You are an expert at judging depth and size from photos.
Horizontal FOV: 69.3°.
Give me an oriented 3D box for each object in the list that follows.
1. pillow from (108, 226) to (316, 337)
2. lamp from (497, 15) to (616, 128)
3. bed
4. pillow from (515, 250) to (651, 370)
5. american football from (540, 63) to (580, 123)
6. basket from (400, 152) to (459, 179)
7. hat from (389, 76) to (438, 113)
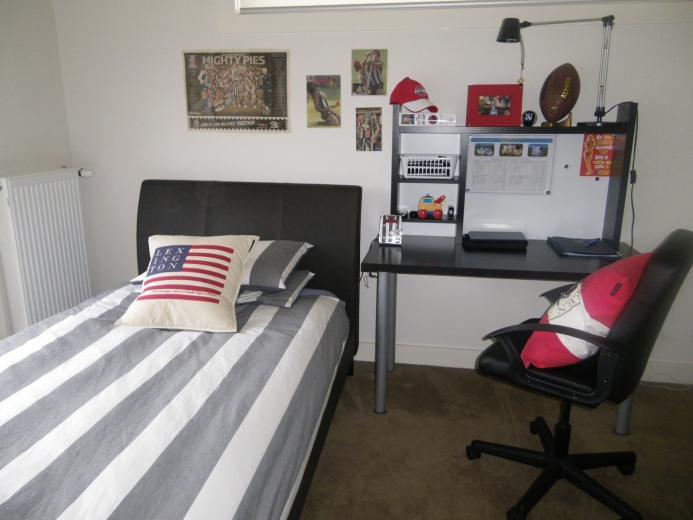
[{"bbox_3d":[-0.756,0.094,2.858,0.838,0.403,0.707,4,15,7],"label":"pillow"},{"bbox_3d":[1.278,-1.152,3.012,0.659,0.800,0.174,1,31,11],"label":"lamp"},{"bbox_3d":[-0.635,0.410,2.845,1.475,1.462,1.621,1,13,2],"label":"bed"},{"bbox_3d":[1.066,0.225,2.266,0.444,0.572,0.339,11,18,31],"label":"pillow"},{"bbox_3d":[1.231,-0.942,2.961,0.207,0.344,0.196,24,9,32],"label":"american football"},{"bbox_3d":[0.515,-0.579,3.183,0.262,0.118,0.179,1,18,5],"label":"basket"},{"bbox_3d":[0.438,-1.023,3.107,0.247,0.219,0.299,11,18,30],"label":"hat"}]
